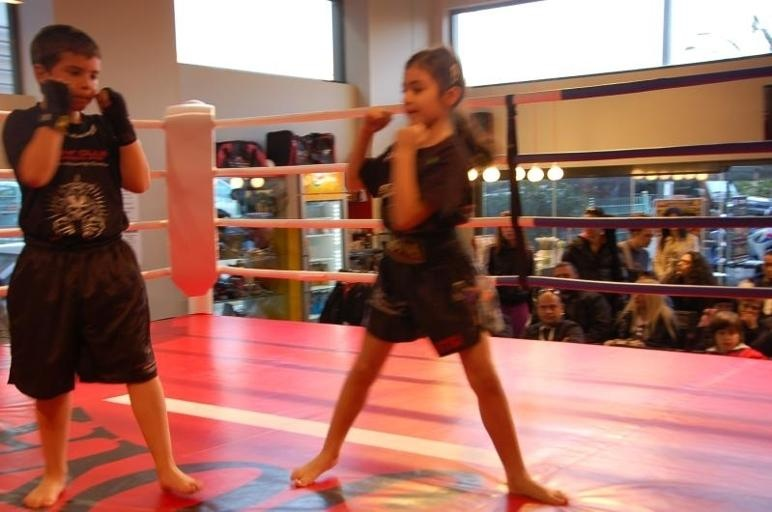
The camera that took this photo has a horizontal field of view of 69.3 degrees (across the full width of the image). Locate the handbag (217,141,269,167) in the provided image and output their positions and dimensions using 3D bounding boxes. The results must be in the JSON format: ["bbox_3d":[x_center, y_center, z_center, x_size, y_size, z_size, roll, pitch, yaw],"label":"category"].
[{"bbox_3d":[-1.412,-1.001,5.468,0.452,0.254,0.285,-2,12,-2],"label":"handbag"}]

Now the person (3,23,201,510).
[{"bbox_3d":[-0.820,0.013,1.564,0.534,1.274,0.346,-3,13,1],"label":"person"}]

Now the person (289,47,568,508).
[{"bbox_3d":[0.113,0.023,1.599,0.755,1.198,0.473,0,13,10],"label":"person"}]
